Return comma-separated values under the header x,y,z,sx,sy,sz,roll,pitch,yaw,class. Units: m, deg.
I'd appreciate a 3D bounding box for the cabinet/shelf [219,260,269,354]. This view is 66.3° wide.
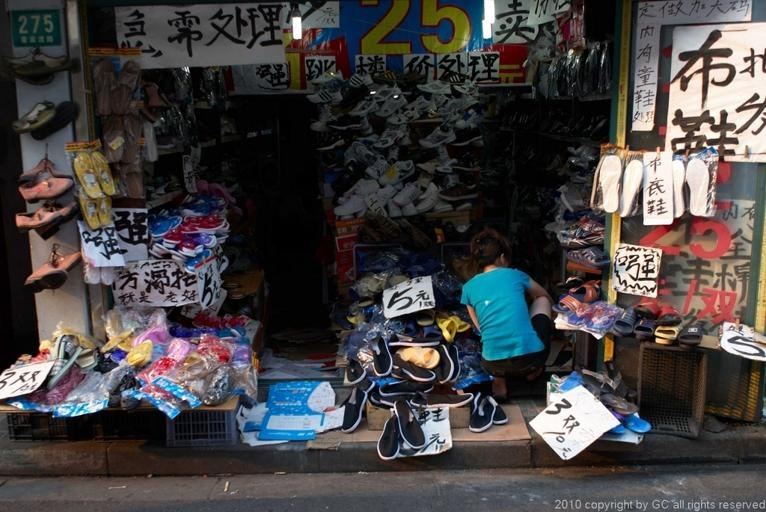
x,y,z,sx,sy,sz,roll,pitch,yaw,class
-1.483,0.552,6.213,0.507,0.581,0.830,-1,30,3,cabinet/shelf

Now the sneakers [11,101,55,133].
x,y,z,sx,sy,sz,roll,pitch,yaw,class
-2.908,-1.157,4.905,0.358,0.145,0.206,-37,61,-14,sneakers

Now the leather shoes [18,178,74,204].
x,y,z,sx,sy,sz,roll,pitch,yaw,class
-2.838,-0.550,4.935,0.428,0.220,0.179,-1,13,-1,leather shoes

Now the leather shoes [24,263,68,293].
x,y,z,sx,sy,sz,roll,pitch,yaw,class
-2.837,0.182,4.974,0.383,0.171,0.196,-8,8,15,leather shoes

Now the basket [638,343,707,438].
x,y,z,sx,sy,sz,roll,pitch,yaw,class
2.484,1.142,5.020,0.607,0.768,0.264,2,9,15,basket

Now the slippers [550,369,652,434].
x,y,z,sx,sy,sz,roll,pitch,yaw,class
1.836,1.185,4.914,0.522,0.200,0.688,-11,20,-40,slippers

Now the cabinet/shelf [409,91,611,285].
x,y,z,sx,sy,sz,roll,pitch,yaw,class
1.562,-0.808,7.154,0.793,2.424,2.541,1,16,-5,cabinet/shelf

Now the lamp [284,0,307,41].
x,y,z,sx,sy,sz,roll,pitch,yaw,class
-0.959,-2.647,6.570,0.165,0.379,0.596,-3,13,-8,lamp
